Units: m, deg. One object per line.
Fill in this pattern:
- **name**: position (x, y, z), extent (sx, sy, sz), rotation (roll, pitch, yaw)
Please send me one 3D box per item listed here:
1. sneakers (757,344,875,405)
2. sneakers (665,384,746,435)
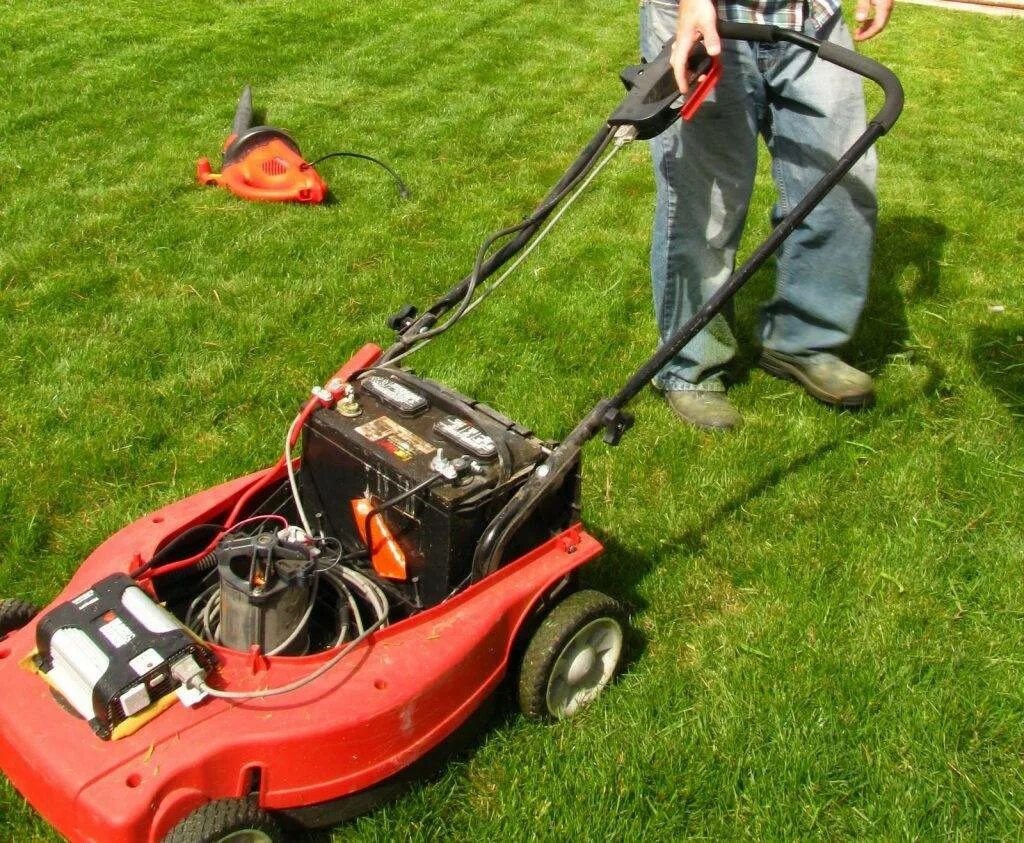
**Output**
- **sneakers**: position (1.422, -0.198, 4.691), extent (0.481, 0.210, 0.207), rotation (30, 72, 29)
- **sneakers**: position (0.858, -0.075, 4.523), extent (0.260, 0.117, 0.180), rotation (11, 32, 27)
